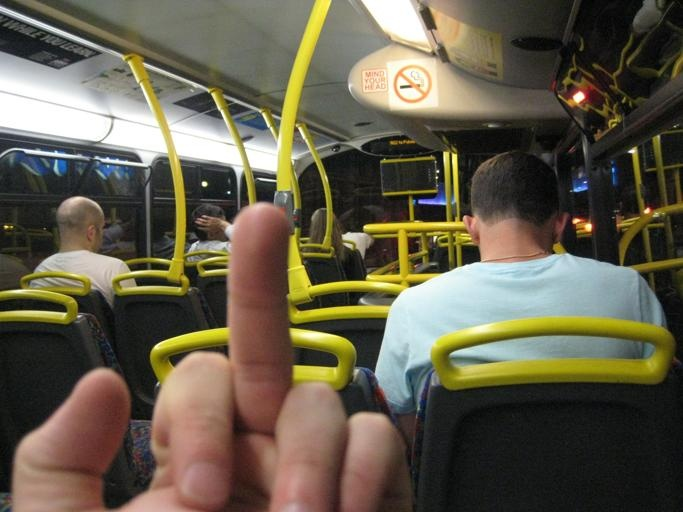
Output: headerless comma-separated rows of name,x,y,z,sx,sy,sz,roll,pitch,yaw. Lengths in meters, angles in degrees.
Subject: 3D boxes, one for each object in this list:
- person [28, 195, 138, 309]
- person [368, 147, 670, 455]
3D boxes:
person,-2.004,-0.052,3.999,0.904,0.772,0.451,0,9,6
person,0.577,0.329,1.771,0.910,1.275,0.674,-6,8,4
